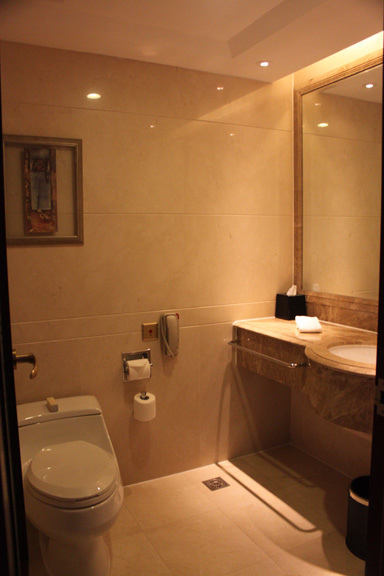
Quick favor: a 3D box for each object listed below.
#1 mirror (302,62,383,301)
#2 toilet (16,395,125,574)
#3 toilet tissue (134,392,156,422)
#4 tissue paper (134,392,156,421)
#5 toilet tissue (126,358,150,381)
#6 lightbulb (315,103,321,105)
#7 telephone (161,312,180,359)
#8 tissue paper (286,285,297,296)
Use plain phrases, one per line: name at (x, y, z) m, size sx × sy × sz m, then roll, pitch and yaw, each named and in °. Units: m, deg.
mirror at (0.773, -0.520, 2.303) m, size 0.098 × 1.118 × 0.649 m, roll -2°, pitch 4°, yaw -20°
toilet at (-0.479, 0.793, 1.734) m, size 0.360 × 0.587 × 0.671 m, roll -2°, pitch 4°, yaw -24°
toilet tissue at (-0.226, 0.577, 2.121) m, size 0.100 × 0.126 × 0.104 m, roll -4°, pitch 8°, yaw -18°
tissue paper at (-0.225, 0.578, 2.173) m, size 0.099 × 0.120 × 0.096 m, roll -7°, pitch 9°, yaw -31°
toilet tissue at (-0.269, 0.413, 2.212) m, size 0.121 × 0.116 × 0.077 m, roll -2°, pitch 4°, yaw -22°
lightbulb at (0.686, -0.999, 2.401) m, size 0.009 × 0.009 × 0.035 m, roll -2°, pitch 20°, yaw -13°
telephone at (-0.108, 0.252, 2.306) m, size 0.108 × 0.249 × 0.067 m, roll -2°, pitch 4°, yaw -18°
tissue paper at (0.581, 0.013, 2.586) m, size 0.057 × 0.057 × 0.064 m, roll 0°, pitch 4°, yaw 4°
